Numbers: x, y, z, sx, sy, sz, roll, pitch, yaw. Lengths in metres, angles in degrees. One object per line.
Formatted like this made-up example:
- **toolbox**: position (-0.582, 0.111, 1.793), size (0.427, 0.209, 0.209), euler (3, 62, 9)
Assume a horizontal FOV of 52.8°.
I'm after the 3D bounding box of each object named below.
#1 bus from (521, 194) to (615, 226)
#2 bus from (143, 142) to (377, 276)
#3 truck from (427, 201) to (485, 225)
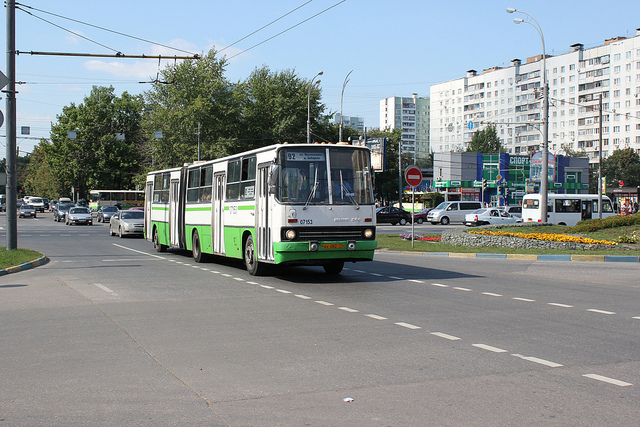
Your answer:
- **bus**: position (16.200, -0.213, 42.696), size (5.993, 2.138, 2.483), euler (-1, -1, 4)
- **bus**: position (-3.134, -0.125, 23.408), size (3.300, 3.693, 13.657), euler (0, 0, -31)
- **truck**: position (11.963, -0.147, 58.427), size (4.014, 1.625, 2.186), euler (2, -3, -18)
